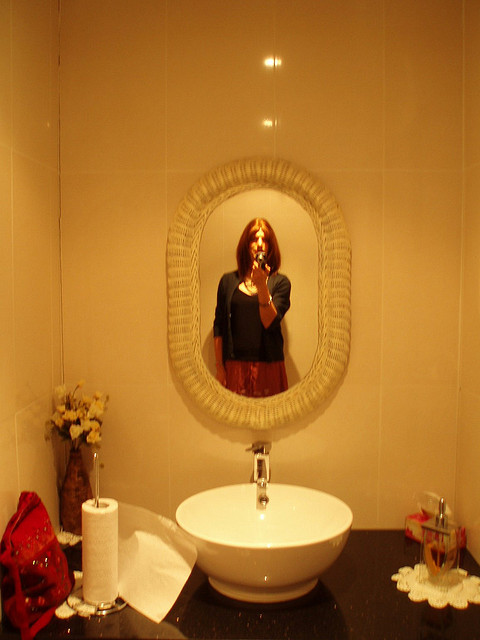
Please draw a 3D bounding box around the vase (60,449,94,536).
[{"bbox_3d":[-0.453,0.455,1.549,0.061,0.270,0.089,8,24,-2],"label":"vase"}]

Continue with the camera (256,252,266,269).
[{"bbox_3d":[0.060,-0.166,1.586,0.021,0.040,0.029,6,14,25],"label":"camera"}]

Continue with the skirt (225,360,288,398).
[{"bbox_3d":[0.053,0.128,1.605,0.137,0.139,0.094,-9,16,-43],"label":"skirt"}]

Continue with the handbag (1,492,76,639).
[{"bbox_3d":[-0.438,0.542,1.201,0.058,0.177,0.160,-10,22,5],"label":"handbag"}]

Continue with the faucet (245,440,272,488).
[{"bbox_3d":[0.052,0.399,1.496,0.048,0.155,0.096,0,-4,1],"label":"faucet"}]
